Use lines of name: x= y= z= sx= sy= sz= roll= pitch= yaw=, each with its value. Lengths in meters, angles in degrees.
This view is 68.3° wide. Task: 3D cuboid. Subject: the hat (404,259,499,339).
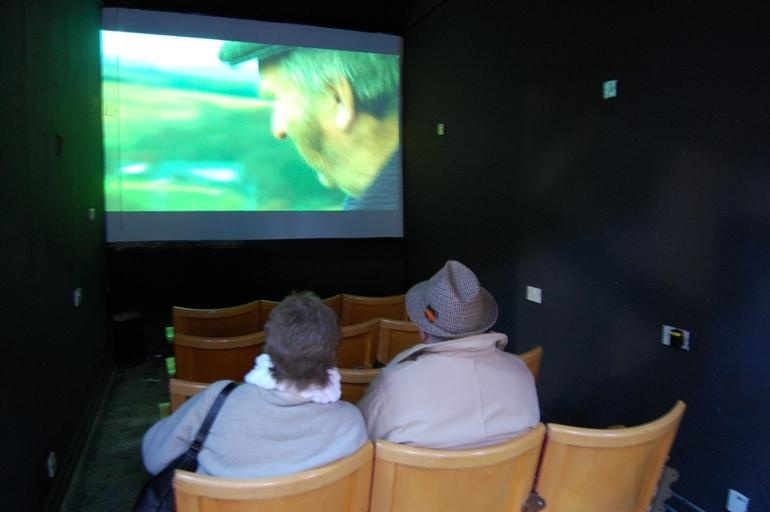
hat: x=0.409 y=0.186 z=3.409 sx=0.596 sy=0.260 sz=0.615 roll=0 pitch=34 yaw=0

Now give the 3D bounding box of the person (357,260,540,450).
person: x=0.390 y=0.525 z=3.408 sx=1.187 sy=0.963 sz=0.816 roll=-4 pitch=14 yaw=-15
